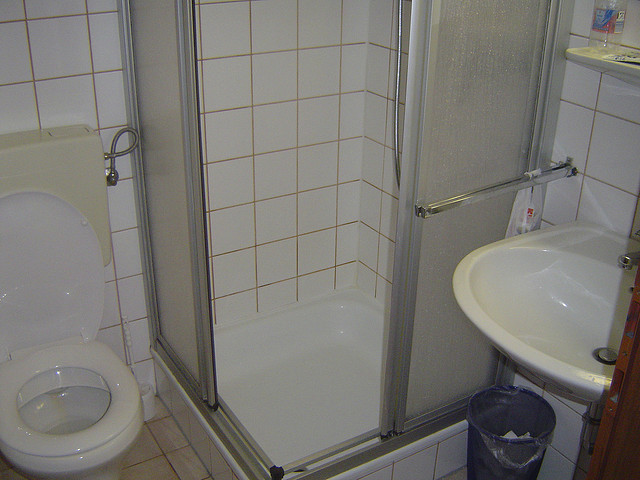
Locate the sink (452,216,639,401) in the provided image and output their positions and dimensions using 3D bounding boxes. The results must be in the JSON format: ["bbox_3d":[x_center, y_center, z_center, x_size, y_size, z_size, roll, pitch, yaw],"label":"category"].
[{"bbox_3d":[0.633,0.142,1.560,0.446,0.218,0.603,18,37,31],"label":"sink"}]
